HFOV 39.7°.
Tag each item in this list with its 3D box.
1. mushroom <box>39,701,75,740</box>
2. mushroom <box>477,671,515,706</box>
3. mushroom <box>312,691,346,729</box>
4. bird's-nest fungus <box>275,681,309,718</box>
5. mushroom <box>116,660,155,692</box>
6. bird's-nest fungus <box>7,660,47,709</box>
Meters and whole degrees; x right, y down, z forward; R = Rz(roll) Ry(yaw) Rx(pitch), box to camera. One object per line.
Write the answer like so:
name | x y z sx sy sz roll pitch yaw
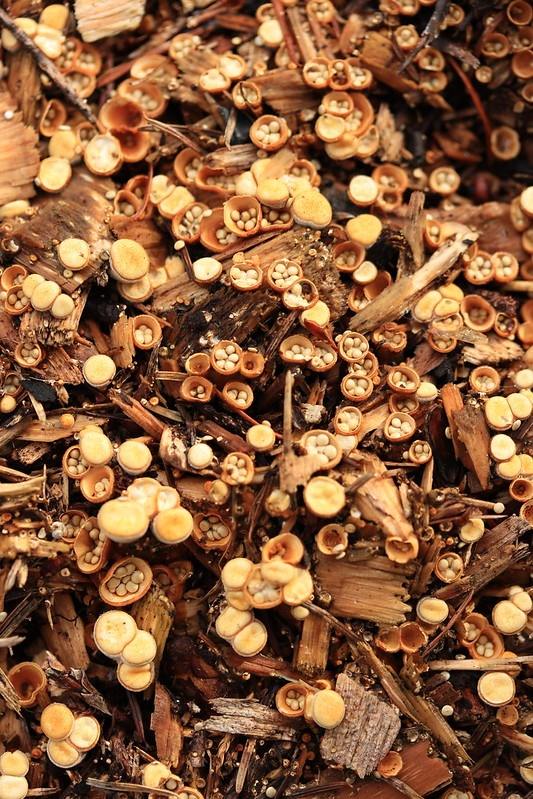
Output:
mushroom | -0.950 1.462 3.340 0.164 0.083 0.136 36 56 26
mushroom | 1.112 1.432 3.592 0.171 0.215 0.131 4 50 0
mushroom | 0.278 1.384 3.295 0.143 0.094 0.147 12 49 8
bird's-nest fungus | 0.117 1.386 3.409 0.142 0.136 0.129 8 49 4
mushroom | -0.596 1.264 3.342 0.173 0.059 0.132 1 85 -12
bird's-nest fungus | -1.124 1.342 3.484 0.161 0.198 0.175 -28 56 -24
